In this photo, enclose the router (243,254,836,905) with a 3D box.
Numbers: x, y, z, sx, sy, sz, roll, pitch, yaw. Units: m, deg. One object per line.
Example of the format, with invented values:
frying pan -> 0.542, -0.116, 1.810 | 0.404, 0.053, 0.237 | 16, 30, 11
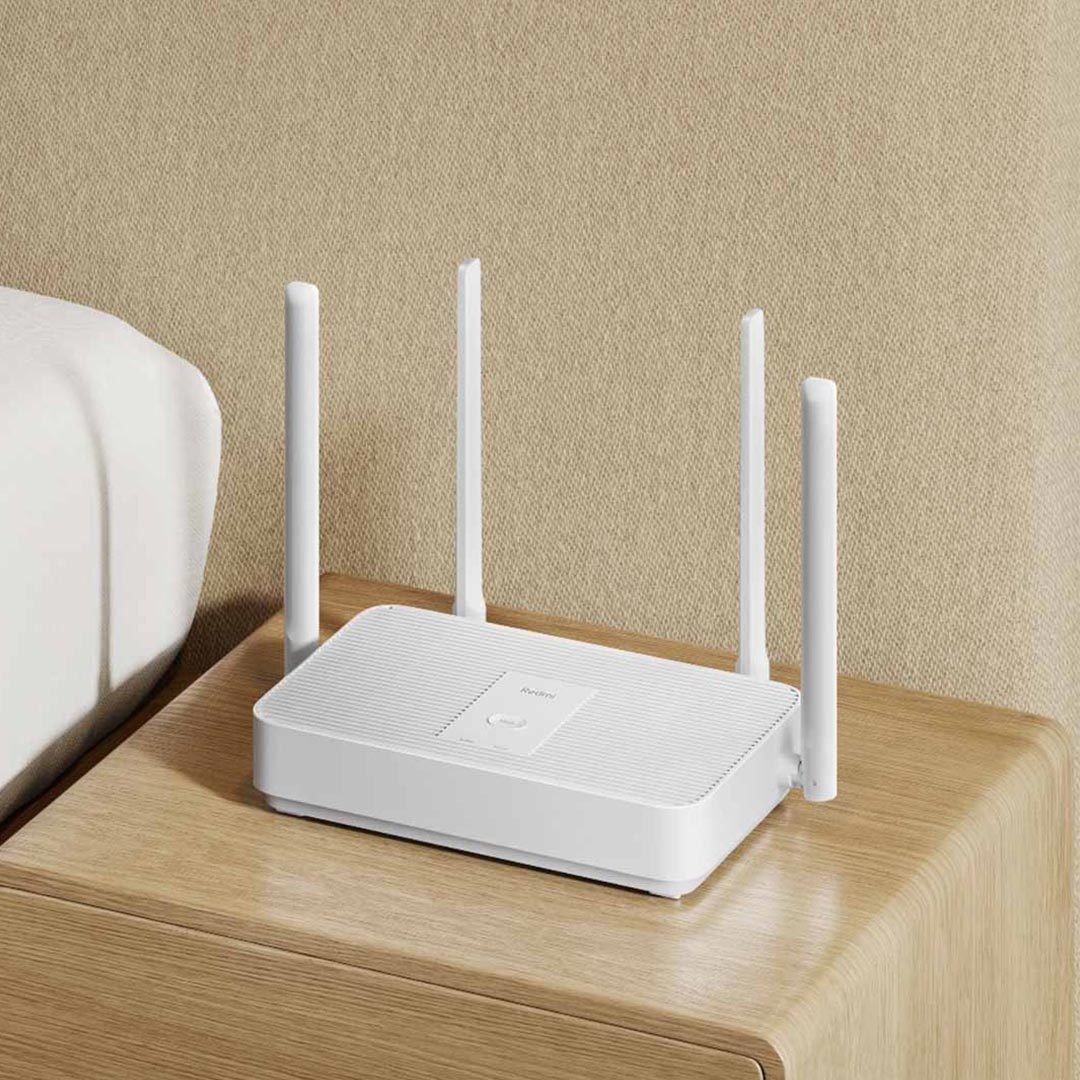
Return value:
router -> 0.014, 0.020, 0.875 | 0.364, 0.286, 0.203 | 9, 19, 22
